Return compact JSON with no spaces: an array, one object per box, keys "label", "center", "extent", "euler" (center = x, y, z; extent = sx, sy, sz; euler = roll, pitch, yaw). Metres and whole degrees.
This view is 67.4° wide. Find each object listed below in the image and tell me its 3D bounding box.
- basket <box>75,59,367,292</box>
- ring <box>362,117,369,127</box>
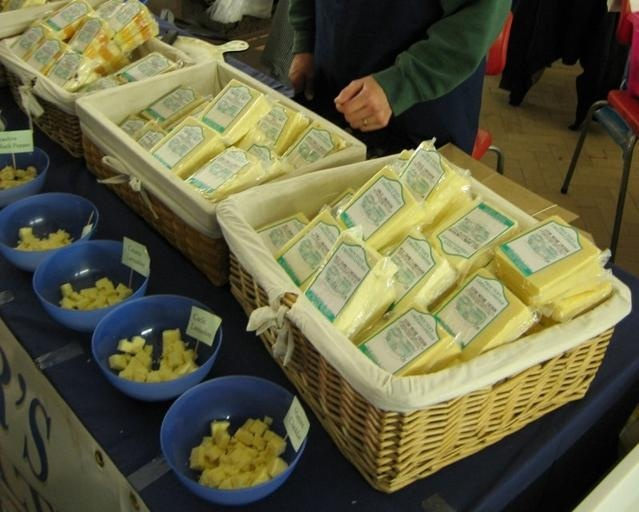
[{"label":"basket","center":[-0.376,-0.150,1.390],"extent":[0.595,0.280,0.783],"euler":[-27,47,-27]},{"label":"ring","center":[0.134,-0.393,1.411],"extent":[0.016,0.018,0.006],"euler":[8,13,36]}]
